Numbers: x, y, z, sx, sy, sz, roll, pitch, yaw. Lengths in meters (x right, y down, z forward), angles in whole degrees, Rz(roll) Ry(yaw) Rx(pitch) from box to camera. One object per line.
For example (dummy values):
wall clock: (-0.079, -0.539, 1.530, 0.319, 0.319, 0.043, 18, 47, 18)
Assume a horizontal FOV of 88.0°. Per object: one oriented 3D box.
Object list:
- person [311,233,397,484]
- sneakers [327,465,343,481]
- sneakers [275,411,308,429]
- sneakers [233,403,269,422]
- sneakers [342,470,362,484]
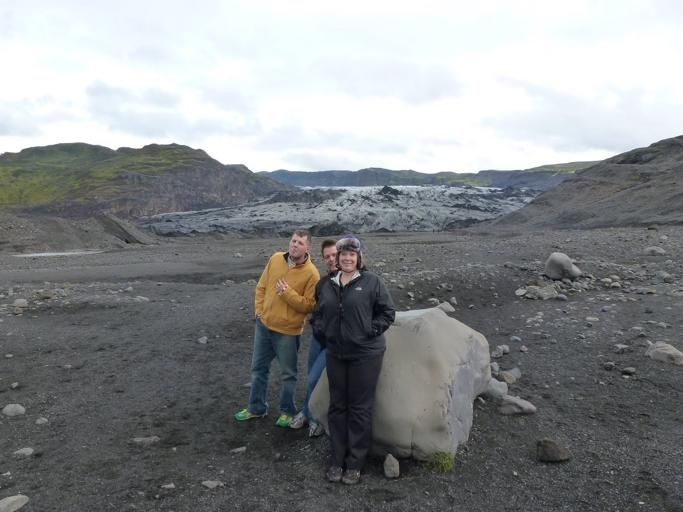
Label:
person: (0.154, 1.163, 4.268, 0.965, 2.682, 1.054, -1, 15, -3)
sneakers: (-0.079, 2.479, 4.155, 0.198, 0.106, 0.143, 0, 13, 0)
sneakers: (-0.701, 2.295, 5.076, 0.370, 0.137, 0.198, 19, -20, -19)
sneakers: (-1.343, 2.293, 5.347, 0.469, 0.187, 0.181, 8, -11, -8)
sneakers: (0.120, 2.501, 4.145, 0.219, 0.115, 0.157, 0, 13, 3)
